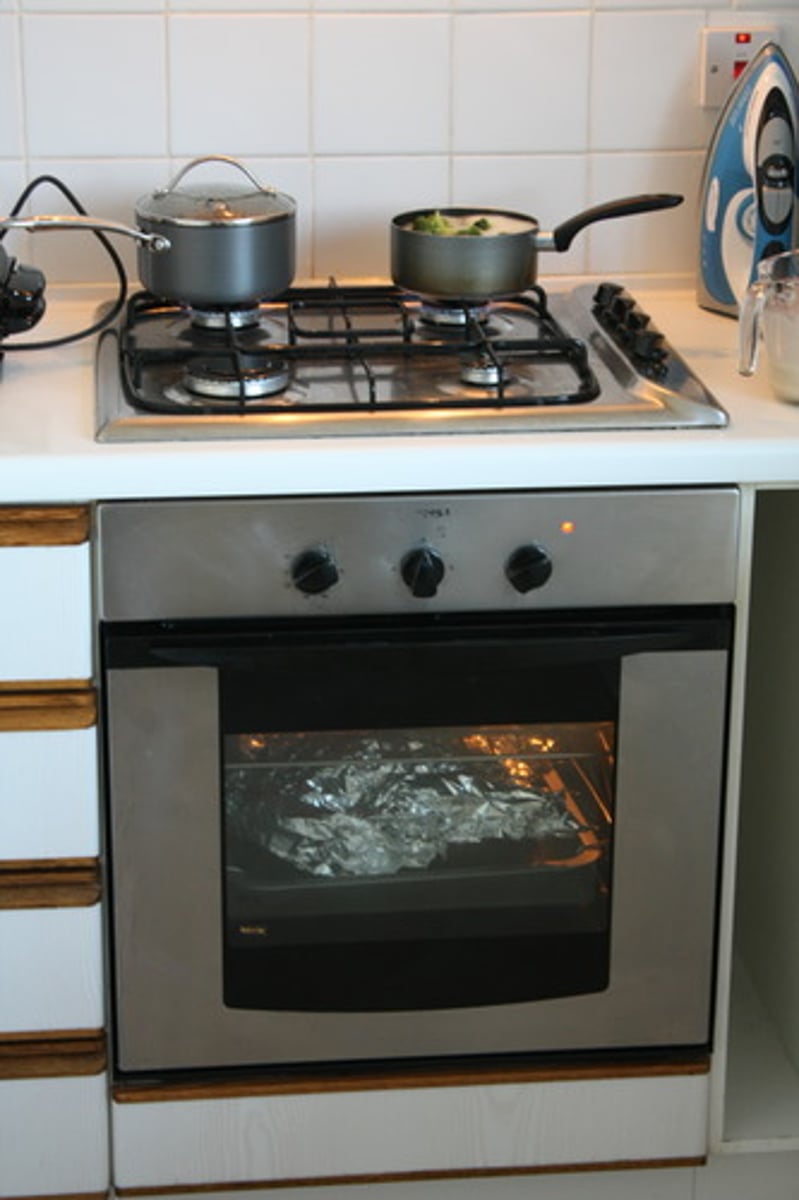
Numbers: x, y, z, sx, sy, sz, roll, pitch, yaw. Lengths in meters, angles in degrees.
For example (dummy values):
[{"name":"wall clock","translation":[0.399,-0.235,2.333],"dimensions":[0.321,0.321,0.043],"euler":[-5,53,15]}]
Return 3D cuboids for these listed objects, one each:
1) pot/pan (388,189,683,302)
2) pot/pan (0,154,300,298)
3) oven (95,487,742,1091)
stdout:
[{"name":"pot/pan","translation":[0.149,-0.361,1.167],"dimensions":[0.284,0.105,0.157],"euler":[0,22,-3]},{"name":"pot/pan","translation":[-0.213,-0.376,1.086],"dimensions":[0.336,0.131,0.134],"euler":[-5,26,-11]},{"name":"oven","translation":[0.006,0.131,1.113],"dimensions":[0.570,0.568,0.400],"euler":[0,14,-2]}]
